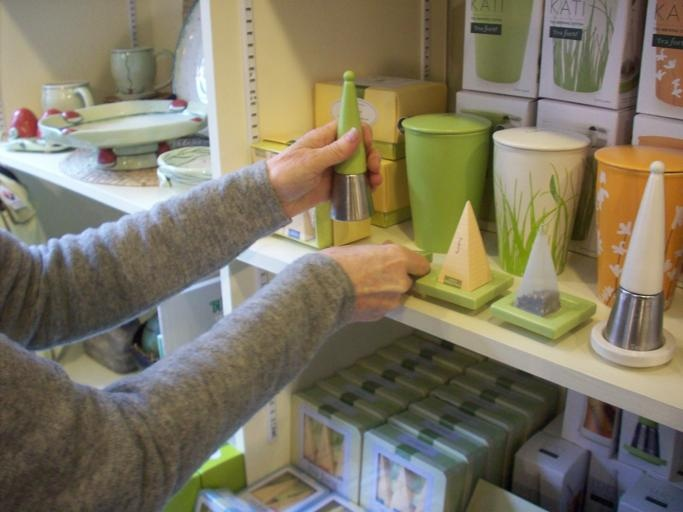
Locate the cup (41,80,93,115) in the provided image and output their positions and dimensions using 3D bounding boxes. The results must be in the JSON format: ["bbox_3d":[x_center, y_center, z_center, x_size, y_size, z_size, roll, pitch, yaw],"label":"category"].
[{"bbox_3d":[-0.867,-0.504,1.726,0.173,0.137,0.121,10,17,39],"label":"cup"}]

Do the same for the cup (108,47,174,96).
[{"bbox_3d":[-0.705,-0.629,1.868,0.149,0.172,0.231,18,23,41],"label":"cup"}]

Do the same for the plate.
[{"bbox_3d":[-0.437,-0.558,1.601,0.072,0.408,0.332,2,3,-27],"label":"plate"}]
